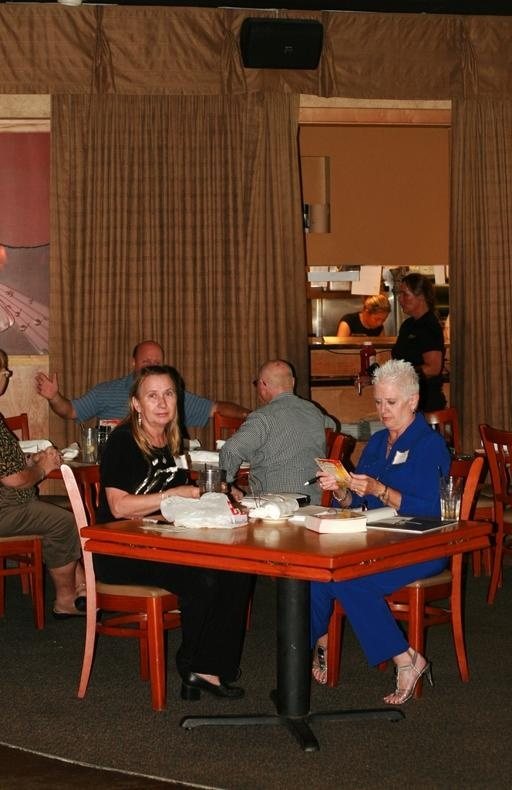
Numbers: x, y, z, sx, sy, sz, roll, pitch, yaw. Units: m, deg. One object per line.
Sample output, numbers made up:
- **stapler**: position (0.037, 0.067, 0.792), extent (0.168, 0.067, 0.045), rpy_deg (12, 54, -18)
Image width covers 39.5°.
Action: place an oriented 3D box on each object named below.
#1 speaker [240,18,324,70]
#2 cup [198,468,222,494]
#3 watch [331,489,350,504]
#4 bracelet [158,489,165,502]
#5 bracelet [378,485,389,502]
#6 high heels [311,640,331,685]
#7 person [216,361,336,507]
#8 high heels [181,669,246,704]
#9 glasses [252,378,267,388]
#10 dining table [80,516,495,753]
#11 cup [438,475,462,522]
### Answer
- **speaker**: position (0.152, -2.302, 4.687), extent (0.481, 0.308, 0.337), rpy_deg (0, 18, -8)
- **cup**: position (-0.134, 0.249, 2.049), extent (0.079, 0.107, 0.067), rpy_deg (0, -1, 0)
- **watch**: position (0.272, 0.338, 2.368), extent (0.053, 0.061, 0.067), rpy_deg (0, -8, -1)
- **bracelet**: position (-0.282, 0.299, 2.094), extent (0.013, 0.046, 0.045), rpy_deg (6, -18, -5)
- **bracelet**: position (0.369, 0.293, 2.106), extent (0.026, 0.044, 0.033), rpy_deg (1, -12, -1)
- **high heels**: position (0.219, 0.905, 2.414), extent (0.058, 0.161, 0.068), rpy_deg (-2, 0, 6)
- **person**: position (0.106, 0.199, 2.971), extent (0.515, 0.701, 0.373), rpy_deg (-16, 31, -23)
- **high heels**: position (-0.105, 0.899, 2.196), extent (0.249, 0.109, 0.089), rpy_deg (-1, 3, -3)
- **glasses**: position (0.011, -0.057, 3.400), extent (0.091, 0.026, 0.085), rpy_deg (15, -6, -1)
- **dining table**: position (0.094, 0.582, 1.734), extent (0.771, 0.472, 0.745), rpy_deg (1, -1, -21)
- **cup**: position (0.540, 0.290, 1.998), extent (0.053, 0.115, 0.065), rpy_deg (-1, -4, 14)
